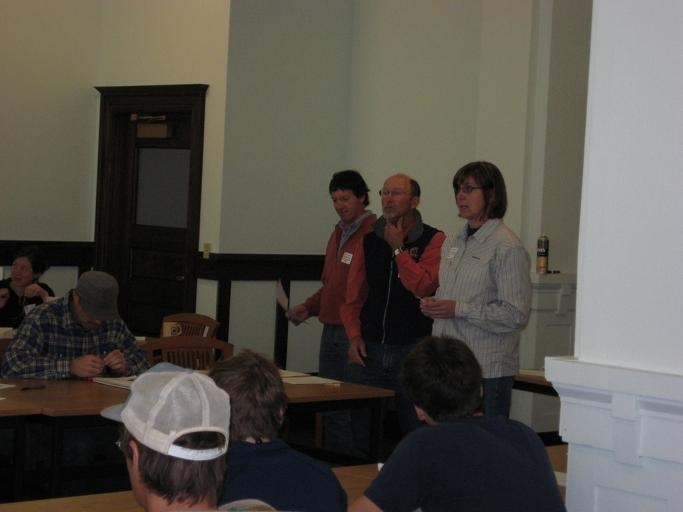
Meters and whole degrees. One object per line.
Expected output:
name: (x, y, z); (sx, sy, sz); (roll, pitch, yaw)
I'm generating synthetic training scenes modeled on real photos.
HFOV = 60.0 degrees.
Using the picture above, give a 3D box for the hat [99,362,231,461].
hat: (-0.340, 0.273, 1.172); (0.130, 0.099, 0.216); (3, 11, -37)

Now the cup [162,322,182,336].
cup: (-1.247, 0.523, 4.310); (0.110, 0.084, 0.113); (0, 0, 0)

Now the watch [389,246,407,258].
watch: (0.336, -0.039, 3.540); (0.065, 0.054, 0.074); (2, 2, -12)

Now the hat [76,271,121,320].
hat: (-1.335, 0.211, 3.195); (0.211, 0.236, 0.118); (2, -2, -9)

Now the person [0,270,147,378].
person: (-1.710, 0.418, 3.719); (0.557, 0.761, 0.375); (-3, 26, -41)

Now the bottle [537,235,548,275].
bottle: (1.741, -0.019, 5.135); (0.094, 0.323, 0.172); (0, -2, 15)
